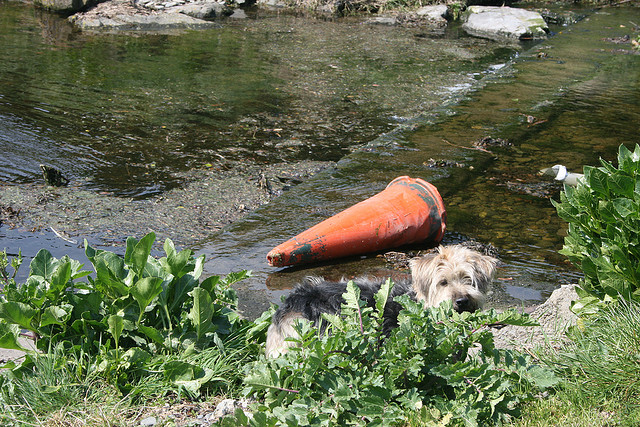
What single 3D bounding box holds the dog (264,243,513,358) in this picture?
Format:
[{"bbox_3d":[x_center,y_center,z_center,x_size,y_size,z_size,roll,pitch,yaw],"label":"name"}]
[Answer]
[{"bbox_3d":[0.843,1.135,10.745,2.909,1.416,1.022,-1,30,-17],"label":"dog"}]
